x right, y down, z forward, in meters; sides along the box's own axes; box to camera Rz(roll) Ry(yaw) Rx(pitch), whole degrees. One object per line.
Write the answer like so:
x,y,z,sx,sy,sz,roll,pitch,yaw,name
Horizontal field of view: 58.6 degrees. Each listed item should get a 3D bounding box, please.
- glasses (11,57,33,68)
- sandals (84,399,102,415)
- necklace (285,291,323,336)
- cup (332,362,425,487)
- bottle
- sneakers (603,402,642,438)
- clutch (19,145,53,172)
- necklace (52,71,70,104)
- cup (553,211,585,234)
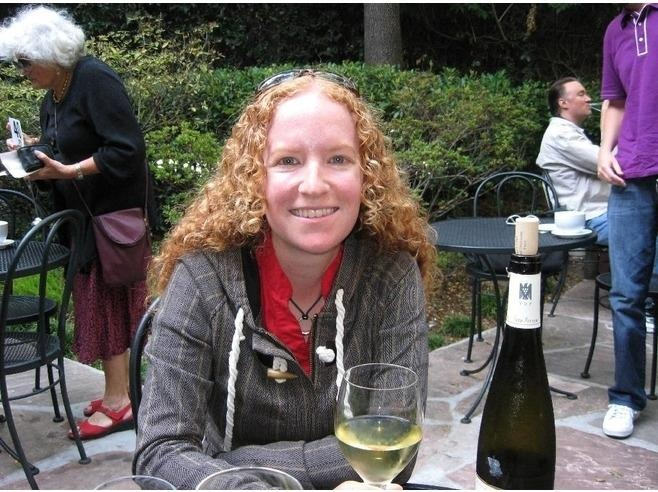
-1.570,-0.938,3.009,0.075,0.023,0.073,6,13,0,glasses
-1.327,0.912,3.303,0.046,0.048,0.124,8,21,18,sandals
-0.078,0.209,1.755,0.134,0.155,0.021,-1,-15,1,necklace
0.119,0.399,1.299,0.178,0.264,0.216,1,6,20,cup
0.407,0.239,1.240,0.184,0.600,0.212,-1,5,0,bottle
1.487,0.900,3.006,0.118,0.143,0.145,3,7,39,sneakers
-1.503,-0.444,2.976,0.164,0.143,0.128,-2,5,-13,clutch
-1.396,-0.823,3.066,0.104,0.143,0.038,-1,-3,31,necklace
1.298,-0.123,3.135,0.122,0.095,0.130,-2,1,0,cup
